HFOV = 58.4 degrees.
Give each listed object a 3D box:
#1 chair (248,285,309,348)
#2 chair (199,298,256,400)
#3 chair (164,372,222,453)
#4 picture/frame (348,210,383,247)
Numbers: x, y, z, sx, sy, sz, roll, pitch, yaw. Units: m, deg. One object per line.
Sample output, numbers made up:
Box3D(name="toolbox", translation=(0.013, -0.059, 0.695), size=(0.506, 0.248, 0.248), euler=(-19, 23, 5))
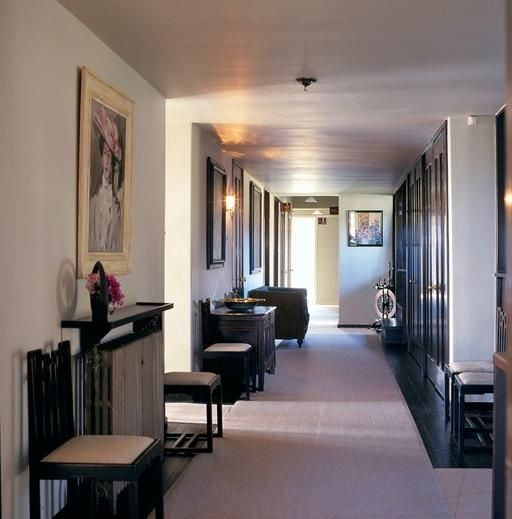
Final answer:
Box3D(name="chair", translation=(0.499, 0.846, 7.648), size=(0.634, 1.065, 1.320), euler=(0, 1, 1))
Box3D(name="chair", translation=(-0.299, 0.905, 4.785), size=(0.577, 0.943, 0.795), euler=(-1, -1, -1))
Box3D(name="chair", translation=(-0.468, 1.017, 3.372), size=(0.379, 0.540, 0.520), euler=(-1, -1, 6))
Box3D(name="picture/frame", translation=(2.346, -0.669, 9.869), size=(0.715, 0.943, 0.050), euler=(3, 39, 20))
